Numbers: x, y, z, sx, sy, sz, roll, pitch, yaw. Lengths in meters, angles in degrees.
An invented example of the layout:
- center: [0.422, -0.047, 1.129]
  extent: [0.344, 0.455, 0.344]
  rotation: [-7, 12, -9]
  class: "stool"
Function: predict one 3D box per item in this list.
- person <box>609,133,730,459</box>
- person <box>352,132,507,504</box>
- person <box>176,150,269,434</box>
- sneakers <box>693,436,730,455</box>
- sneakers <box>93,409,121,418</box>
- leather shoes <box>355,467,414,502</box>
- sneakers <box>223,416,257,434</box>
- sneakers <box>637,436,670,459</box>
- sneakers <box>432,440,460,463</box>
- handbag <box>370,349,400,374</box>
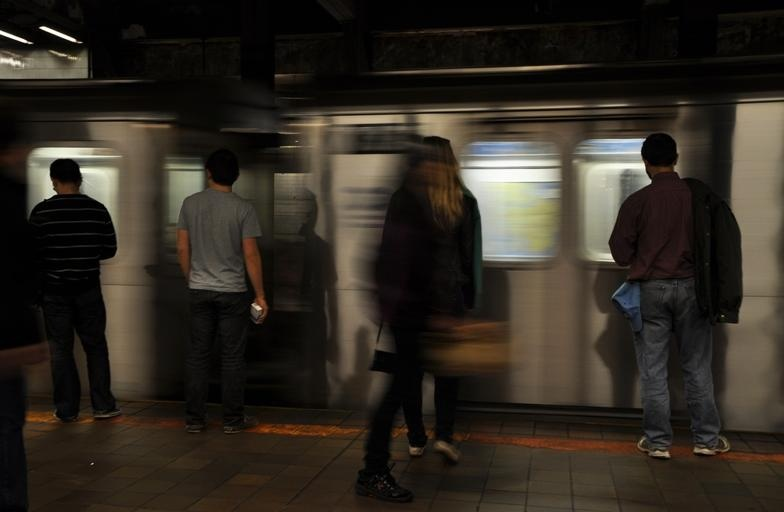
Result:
- center: [2.491, 0.355, 6.162]
  extent: [0.700, 2.819, 0.860]
  rotation: [-8, 15, -25]
  class: "person"
- center: [0.258, 0.479, 5.617]
  extent: [0.642, 2.823, 1.195]
  rotation: [6, 15, 30]
  class: "person"
- center: [-1.709, 0.346, 6.832]
  extent: [0.864, 2.732, 0.715]
  rotation: [-4, 14, -10]
  class: "person"
- center: [2.879, 1.723, 6.209]
  extent: [0.264, 0.177, 0.167]
  rotation: [9, 4, 17]
  class: "sneakers"
- center: [-2.949, 1.629, 7.174]
  extent: [0.273, 0.091, 0.102]
  rotation: [-2, 3, -41]
  class: "sneakers"
- center: [-0.109, 1.825, 5.603]
  extent: [0.547, 0.217, 0.193]
  rotation: [4, -1, 17]
  class: "leather shoes"
- center: [-1.509, 1.659, 6.944]
  extent: [0.135, 0.130, 0.353]
  rotation: [4, 7, 29]
  class: "sneakers"
- center: [2.360, 1.710, 6.266]
  extent: [0.132, 0.126, 0.304]
  rotation: [-1, 10, -14]
  class: "sneakers"
- center: [0.489, 1.706, 6.077]
  extent: [0.301, 0.123, 0.128]
  rotation: [37, 1, -27]
  class: "sneakers"
- center: [-0.050, 0.827, 5.431]
  extent: [0.277, 0.214, 0.179]
  rotation: [4, -10, 6]
  class: "handbag"
